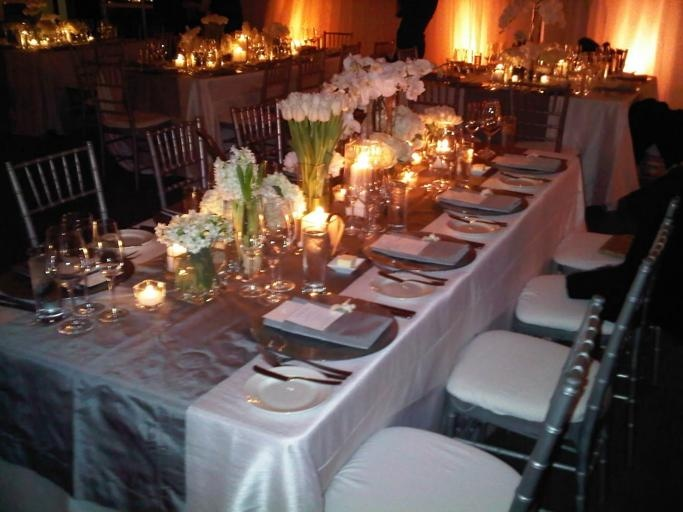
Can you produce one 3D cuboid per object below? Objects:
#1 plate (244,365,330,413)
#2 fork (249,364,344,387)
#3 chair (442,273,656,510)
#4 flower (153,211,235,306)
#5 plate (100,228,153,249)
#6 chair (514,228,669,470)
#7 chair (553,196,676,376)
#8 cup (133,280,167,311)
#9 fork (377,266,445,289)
[{"bbox_3d":[-0.133,0.338,1.214,0.217,0.014,0.139,1,22,5],"label":"plate"},{"bbox_3d":[-0.118,0.312,1.263,0.244,0.032,0.027,4,-10,6],"label":"fork"},{"bbox_3d":[0.747,0.499,1.818,0.518,0.824,0.448,22,54,28],"label":"chair"},{"bbox_3d":[-0.470,0.018,1.592,0.205,0.237,0.183,21,31,15],"label":"flower"},{"bbox_3d":[-0.851,-0.069,1.988,0.113,0.012,0.115,28,35,31],"label":"plate"},{"bbox_3d":[1.028,0.391,2.027,0.589,0.948,0.501,15,54,24],"label":"chair"},{"bbox_3d":[1.271,0.164,2.278,0.543,0.898,0.489,12,62,31],"label":"chair"},{"bbox_3d":[-0.612,0.120,1.597,0.096,0.094,0.096,7,26,-3],"label":"cup"},{"bbox_3d":[0.245,0.078,1.744,0.248,0.030,0.083,13,24,24],"label":"fork"}]
